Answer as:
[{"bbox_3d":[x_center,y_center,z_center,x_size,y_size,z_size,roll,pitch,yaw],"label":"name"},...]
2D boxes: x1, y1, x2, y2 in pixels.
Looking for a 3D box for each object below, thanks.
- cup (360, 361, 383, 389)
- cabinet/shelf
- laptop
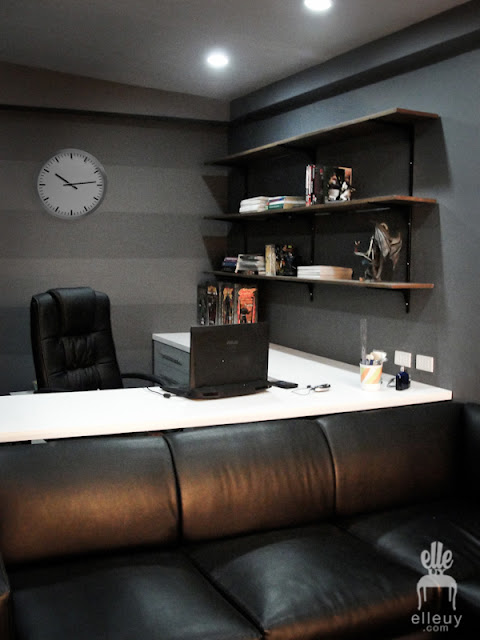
[{"bbox_3d":[0.588,0.254,2.290,0.099,0.111,0.097,1,6,0],"label":"cup"},{"bbox_3d":[0.533,-0.646,3.057,0.322,0.977,1.827,-5,10,-24],"label":"cabinet/shelf"},{"bbox_3d":[-0.092,0.073,2.149,0.378,0.343,0.319,-2,12,-26],"label":"laptop"}]
